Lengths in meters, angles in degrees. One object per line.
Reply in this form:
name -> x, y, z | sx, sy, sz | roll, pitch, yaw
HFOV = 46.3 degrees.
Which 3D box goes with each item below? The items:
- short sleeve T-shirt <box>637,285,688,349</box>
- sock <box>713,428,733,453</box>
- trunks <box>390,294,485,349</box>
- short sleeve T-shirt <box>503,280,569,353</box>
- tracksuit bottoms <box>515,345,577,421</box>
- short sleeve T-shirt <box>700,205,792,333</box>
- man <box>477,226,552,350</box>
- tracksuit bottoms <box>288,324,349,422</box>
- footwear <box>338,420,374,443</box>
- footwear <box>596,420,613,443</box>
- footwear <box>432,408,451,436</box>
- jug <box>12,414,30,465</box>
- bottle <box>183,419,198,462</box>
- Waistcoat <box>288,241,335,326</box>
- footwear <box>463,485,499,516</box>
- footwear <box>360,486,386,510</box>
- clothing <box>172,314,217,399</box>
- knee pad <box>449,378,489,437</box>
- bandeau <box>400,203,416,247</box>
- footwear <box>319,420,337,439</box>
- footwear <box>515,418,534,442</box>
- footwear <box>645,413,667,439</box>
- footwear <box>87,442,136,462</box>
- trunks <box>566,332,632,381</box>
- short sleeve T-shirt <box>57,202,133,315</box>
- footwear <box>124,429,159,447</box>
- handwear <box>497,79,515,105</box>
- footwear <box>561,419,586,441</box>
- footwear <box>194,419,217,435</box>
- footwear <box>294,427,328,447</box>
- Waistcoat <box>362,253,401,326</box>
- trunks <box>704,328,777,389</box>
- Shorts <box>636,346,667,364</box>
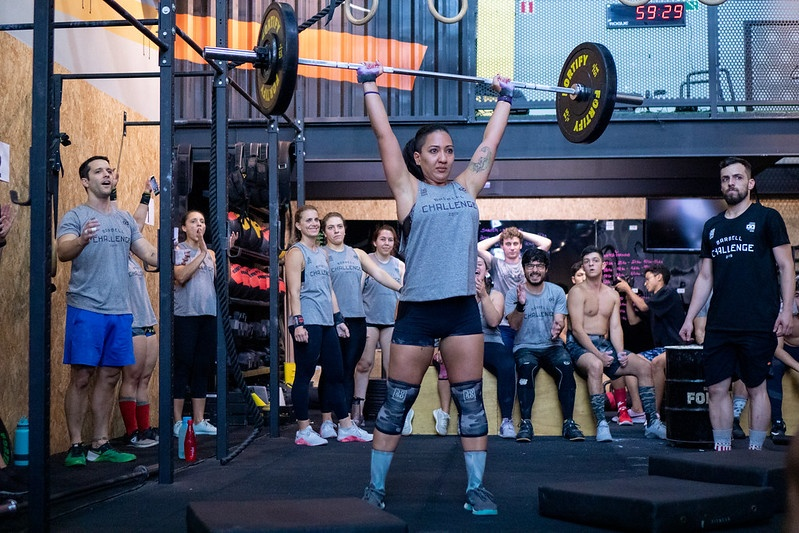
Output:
short sleeve T-shirt -> 2.685, 0.488, 9.626 | 0.399, 0.650, 0.395 | 0, 14, 21
sock -> 2.441, 1.307, 7.062 | 0.178, 0.205, 0.187 | -3, -4, 18
trunks -> 0.270, 0.312, 6.128 | 0.547, 0.351, 0.311 | -6, 32, 7
short sleeve T-shirt -> 1.277, 0.469, 8.731 | 0.529, 0.636, 0.320 | -2, 18, 3
tracksuit bottoms -> 1.358, 1.117, 8.673 | 0.488, 0.692, 0.463 | -1, 4, 9
short sleeve T-shirt -> 2.599, 0.025, 7.157 | 0.631, 1.017, 0.344 | -6, -13, 35
man -> 1.150, 0.340, 9.221 | 0.710, 1.456, 0.377 | -2, -27, 9
tracksuit bottoms -> -0.688, 0.923, 8.072 | 0.345, 0.773, 0.617 | 0, 0, 30
footwear -> -0.328, 1.462, 8.255 | 0.449, 0.231, 0.168 | 2, -5, -2
footwear -> 1.809, 1.465, 8.271 | 0.142, 0.187, 0.224 | 0, 0, 13
footwear -> 0.376, 1.452, 8.690 | 0.110, 0.274, 0.094 | -27, -27, 37
jug -> -2.878, 1.324, 7.059 | 0.197, 0.317, 0.077 | 0, 0, 42
bottle -> -1.651, 1.375, 7.335 | 0.096, 0.292, 0.178 | 0, 0, -12
Waistcoat -> -0.734, 0.165, 8.087 | 0.256, 0.737, 0.352 | -1, 7, 42
footwear -> 0.534, 1.527, 6.054 | 0.117, 0.121, 0.243 | 2, -10, -16
footwear -> -0.176, 1.506, 6.036 | 0.109, 0.173, 0.165 | 0, -10, -3
clothing -> -1.880, 0.810, 8.522 | 0.418, 1.009, 0.336 | 1, 3, -31
knee pad -> 0.447, 0.924, 6.082 | 0.220, 0.362, 0.137 | 0, 0, 2
bandeau -> 0.038, -0.235, 6.132 | 0.139, 0.198, 0.202 | 1, -19, -2
footwear -> -0.652, 1.478, 8.425 | 0.158, 0.167, 0.387 | 0, -8, -11
footwear -> 1.116, 1.475, 8.369 | 0.145, 0.195, 0.277 | 0, 1, 8
footwear -> 2.298, 1.450, 8.402 | 0.178, 0.217, 0.297 | 0, 1, 14
footwear -> -2.308, 1.466, 7.467 | 0.437, 0.213, 0.160 | 2, -5, -3
trunks -> 1.827, 0.854, 8.634 | 0.344, 0.258, 0.598 | 2, 6, -13
short sleeve T-shirt -> -2.409, -0.059, 7.364 | 0.335, 0.939, 0.764 | -13, -14, 35
footwear -> -2.232, 1.500, 8.082 | 0.301, 0.140, 0.118 | -1, -6, 6
handwear -> 0.725, -1.185, 6.377 | 0.090, 0.159, 0.061 | 2, -1, 1
footwear -> 1.559, 1.472, 8.388 | 0.135, 0.194, 0.249 | -1, 1, -12
footwear -> -1.803, 1.493, 8.671 | 0.334, 0.149, 0.146 | 1, -3, -13
footwear -> -0.765, 1.462, 8.028 | 0.262, 0.127, 0.132 | 2, -4, 26
Waistcoat -> -0.172, 0.215, 9.118 | 0.364, 0.685, 0.252 | 2, 15, 0
trunks -> 2.576, 0.696, 7.107 | 0.499, 0.502, 0.298 | -4, -22, 30
Shorts -> 2.500, 0.860, 9.207 | 0.176, 0.096, 0.313 | -25, 4, 46
